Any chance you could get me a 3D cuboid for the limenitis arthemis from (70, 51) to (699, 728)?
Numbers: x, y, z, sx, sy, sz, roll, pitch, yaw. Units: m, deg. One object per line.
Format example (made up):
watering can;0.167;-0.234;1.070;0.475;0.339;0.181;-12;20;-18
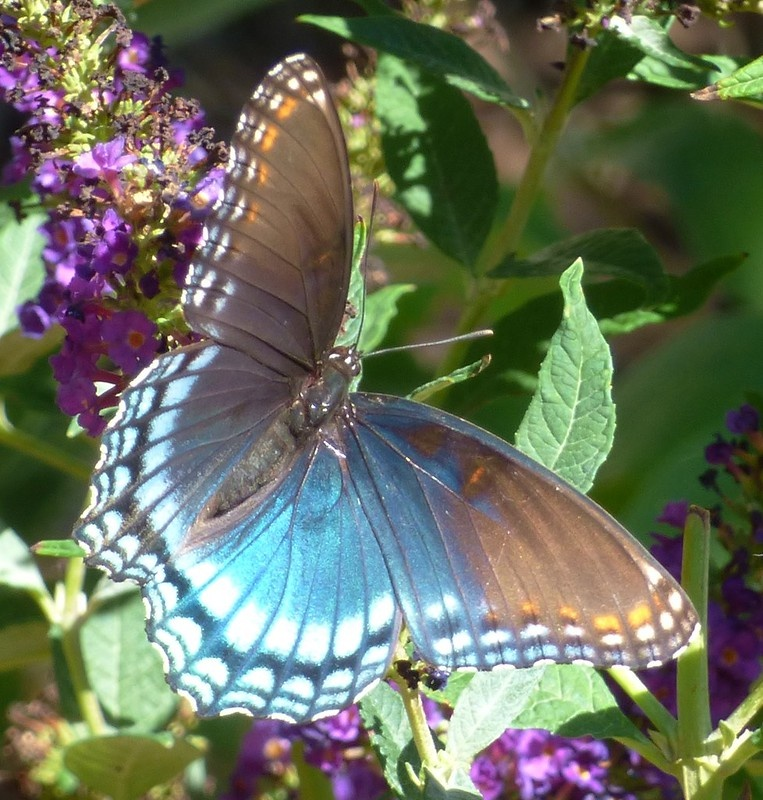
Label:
limenitis arthemis;-0.084;0.056;1.175;0.437;0.654;0.733;-23;50;-30
